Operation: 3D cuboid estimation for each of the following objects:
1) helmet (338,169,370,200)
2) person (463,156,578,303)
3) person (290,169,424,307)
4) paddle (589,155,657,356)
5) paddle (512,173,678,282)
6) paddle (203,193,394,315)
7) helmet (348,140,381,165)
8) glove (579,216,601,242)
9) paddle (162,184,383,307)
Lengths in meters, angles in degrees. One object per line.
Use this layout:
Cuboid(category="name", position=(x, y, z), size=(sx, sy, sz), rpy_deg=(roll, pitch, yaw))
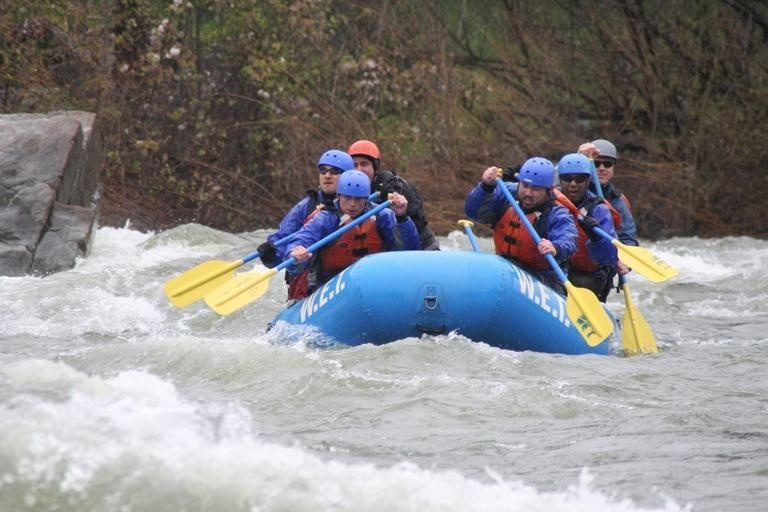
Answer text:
Cuboid(category="helmet", position=(-0.351, -0.843, 11.544), size=(0.291, 0.310, 0.350), rpy_deg=(3, 1, -5))
Cuboid(category="person", position=(1.834, -0.328, 11.860), size=(0.870, 1.933, 1.438), rpy_deg=(28, -28, -32))
Cuboid(category="person", position=(-0.318, -0.163, 11.601), size=(1.365, 2.098, 1.091), rpy_deg=(-1, 40, -22))
Cuboid(category="paddle", position=(2.854, -0.027, 12.382), size=(0.536, 2.826, 0.390), rpy_deg=(8, -34, -31))
Cuboid(category="paddle", position=(2.401, -0.424, 12.064), size=(2.508, 0.590, 0.140), rpy_deg=(37, 10, 25))
Cuboid(category="paddle", position=(-1.065, 0.017, 12.442), size=(3.442, 0.573, 0.214), rpy_deg=(-29, -24, -9))
Cuboid(category="helmet", position=(-0.225, -1.339, 12.831), size=(0.337, 0.287, 0.403), rpy_deg=(9, 7, 21))
Cuboid(category="glove", position=(2.425, -0.334, 11.881), size=(0.121, 0.280, 0.215), rpy_deg=(-20, -25, -45))
Cuboid(category="paddle", position=(-1.220, -0.093, 11.506), size=(2.914, 0.224, 0.381), rpy_deg=(-23, 10, 11))
